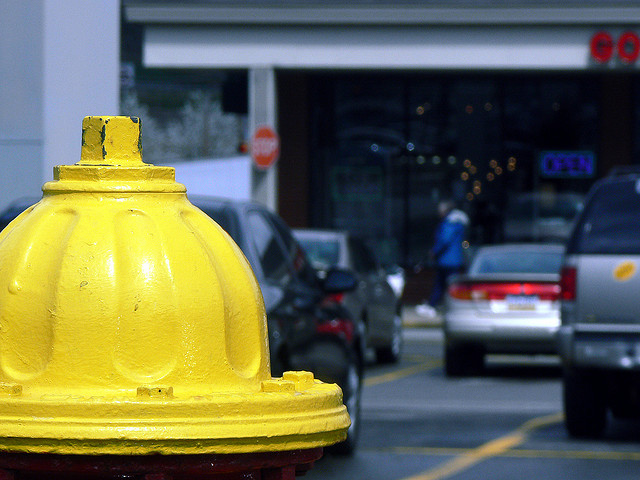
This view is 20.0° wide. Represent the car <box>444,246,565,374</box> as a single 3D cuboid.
[{"bbox_3d":[2.278,0.467,20.695,1.621,1.182,2.961,0,11,4],"label":"car"}]

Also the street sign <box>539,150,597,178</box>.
[{"bbox_3d":[3.833,-1.156,28.027,0.827,0.455,1.521,0,5,2],"label":"street sign"}]

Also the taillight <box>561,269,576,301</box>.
[{"bbox_3d":[2.149,0.386,15.703,0.139,0.266,0.087,3,6,28],"label":"taillight"}]
